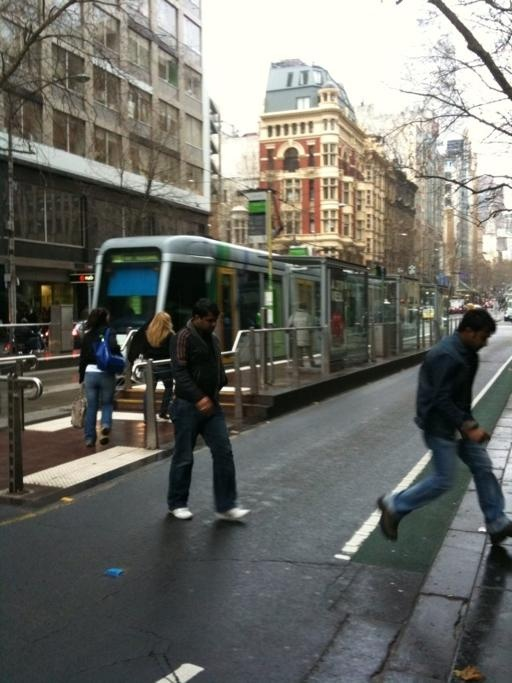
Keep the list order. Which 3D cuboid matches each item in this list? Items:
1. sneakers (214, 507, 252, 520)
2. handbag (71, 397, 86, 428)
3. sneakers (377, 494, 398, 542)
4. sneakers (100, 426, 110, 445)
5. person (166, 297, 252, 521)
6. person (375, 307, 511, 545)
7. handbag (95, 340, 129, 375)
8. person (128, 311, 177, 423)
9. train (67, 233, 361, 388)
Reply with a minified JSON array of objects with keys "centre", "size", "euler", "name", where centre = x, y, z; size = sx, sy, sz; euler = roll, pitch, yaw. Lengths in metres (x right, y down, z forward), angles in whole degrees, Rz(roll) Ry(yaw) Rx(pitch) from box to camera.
[{"centre":[-0.187,1.281,4.927],"size":[0.235,0.104,0.095],"euler":[-9,3,11],"name":"sneakers"},{"centre":[-2.103,0.840,7.765],"size":[0.149,0.344,0.159],"euler":[-1,1,-17],"name":"handbag"},{"centre":[0.808,1.079,4.057],"size":[0.121,0.289,0.099],"euler":[-9,3,10],"name":"sneakers"},{"centre":[-1.803,1.132,7.793],"size":[0.108,0.265,0.111],"euler":[5,-1,-14],"name":"sneakers"},{"centre":[-0.419,0.513,4.990],"size":[0.511,1.643,0.675],"euler":[2,-3,-25],"name":"person"},{"centre":[1.173,0.546,3.929],"size":[0.813,1.495,0.422],"euler":[-1,1,-6],"name":"person"},{"centre":[-1.794,0.210,8.065],"size":[0.236,0.455,0.362],"euler":[-23,-44,9],"name":"handbag"},{"centre":[-1.433,0.350,9.312],"size":[0.687,1.558,0.487],"euler":[-4,18,-16],"name":"person"},{"centre":[0.152,-1.070,18.146],"size":[2.165,2.865,11.094],"euler":[0,2,31],"name":"train"}]
